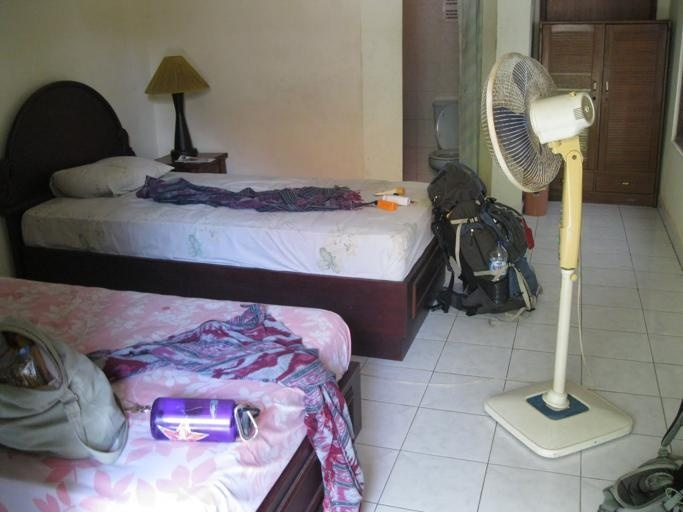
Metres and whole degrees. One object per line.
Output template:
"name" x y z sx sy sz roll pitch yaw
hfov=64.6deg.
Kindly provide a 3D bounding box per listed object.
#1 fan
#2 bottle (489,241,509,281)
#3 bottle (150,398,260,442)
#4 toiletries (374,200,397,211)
"fan" 1.011 0.013 2.442 0.597 1.739 0.660 -20 29 -32
"bottle" 1.005 0.043 3.545 0.144 0.217 0.089 -5 2 -11
"bottle" -0.465 0.523 1.881 0.330 0.143 0.154 3 24 3
"toiletries" 0.291 -0.340 3.540 0.096 0.037 0.070 14 22 25
